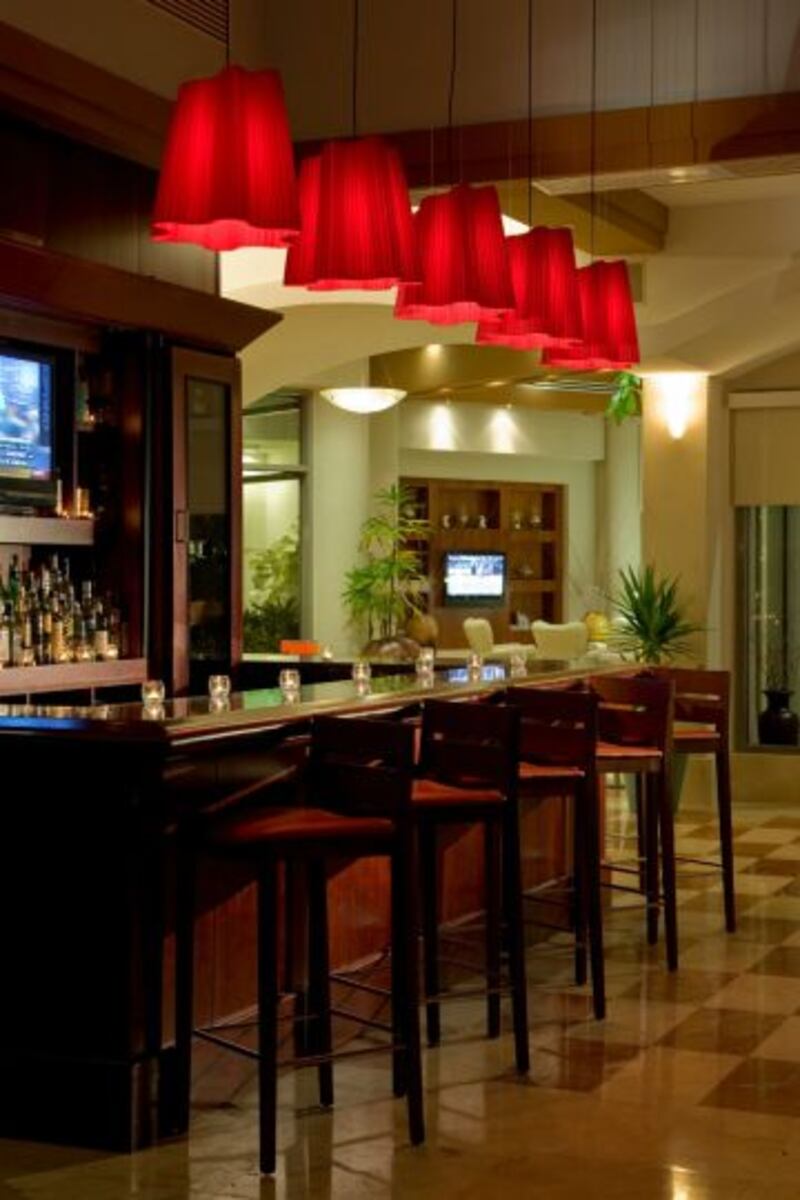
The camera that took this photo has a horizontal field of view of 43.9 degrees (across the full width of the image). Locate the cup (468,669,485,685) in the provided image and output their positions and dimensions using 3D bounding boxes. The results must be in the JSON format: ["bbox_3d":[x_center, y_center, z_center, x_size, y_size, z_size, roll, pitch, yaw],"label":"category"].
[{"bbox_3d":[0.290,0.294,3.784,0.035,0.048,0.038,2,1,14],"label":"cup"}]

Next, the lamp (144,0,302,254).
[{"bbox_3d":[-0.404,-0.983,2.274,0.334,0.349,0.462,-2,1,-7],"label":"lamp"}]

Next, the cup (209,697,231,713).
[{"bbox_3d":[-0.444,0.258,2.442,0.035,0.040,0.039,2,0,-2],"label":"cup"}]

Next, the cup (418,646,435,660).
[{"bbox_3d":[0.116,0.234,4.159,0.073,0.090,0.080,1,0,0],"label":"cup"}]

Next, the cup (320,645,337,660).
[{"bbox_3d":[-0.382,0.283,5.197,0.057,0.066,0.063,1,4,8],"label":"cup"}]

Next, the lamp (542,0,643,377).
[{"bbox_3d":[0.736,-1.188,3.872,0.410,1.885,0.438,0,8,8],"label":"lamp"}]

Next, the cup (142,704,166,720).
[{"bbox_3d":[-0.547,0.252,2.209,0.043,0.039,0.047,1,-5,0],"label":"cup"}]

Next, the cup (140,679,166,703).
[{"bbox_3d":[-0.582,0.225,2.339,0.042,0.044,0.059,-2,1,-6],"label":"cup"}]

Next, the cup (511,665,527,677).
[{"bbox_3d":[0.492,0.299,4.114,0.041,0.052,0.048,2,-1,9],"label":"cup"}]

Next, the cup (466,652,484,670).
[{"bbox_3d":[0.315,0.254,3.957,0.072,0.088,0.144,-2,-1,4],"label":"cup"}]
